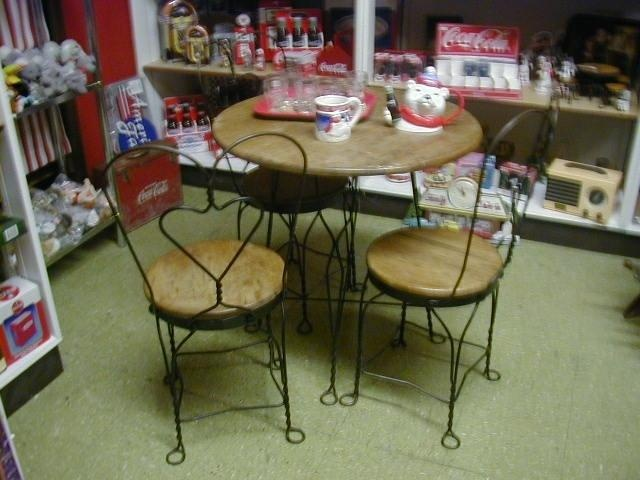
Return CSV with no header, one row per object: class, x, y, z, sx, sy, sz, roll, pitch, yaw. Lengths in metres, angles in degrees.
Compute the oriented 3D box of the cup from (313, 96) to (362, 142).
cup,0.044,-0.449,1.926,0.200,0.147,0.130,-4,43,-3
